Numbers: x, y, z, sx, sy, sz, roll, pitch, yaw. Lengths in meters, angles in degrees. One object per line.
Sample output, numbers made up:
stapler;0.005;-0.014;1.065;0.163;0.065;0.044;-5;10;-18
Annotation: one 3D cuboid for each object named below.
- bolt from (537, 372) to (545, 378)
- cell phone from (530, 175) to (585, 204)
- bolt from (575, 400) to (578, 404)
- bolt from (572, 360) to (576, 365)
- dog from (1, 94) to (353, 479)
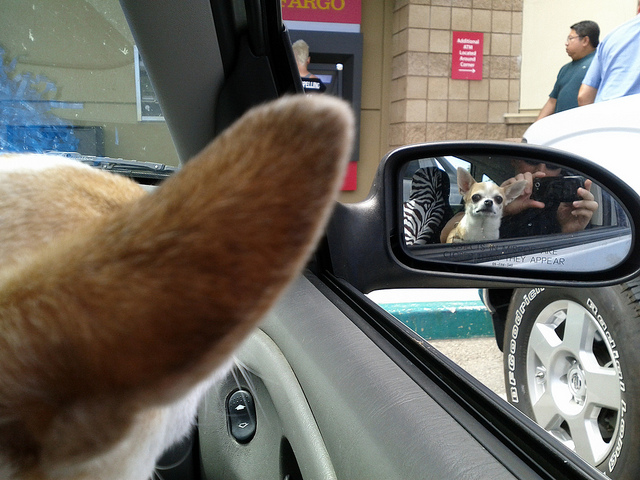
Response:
bolt;1.031;0.633;2.453;0.007;0.032;0.043;-1;15;-12
cell phone;0.875;-0.188;1.929;0.180;0.106;0.067;1;-3;-20
bolt;1.087;0.687;2.224;0.015;0.016;0.004;6;1;5
bolt;1.118;0.540;2.310;0.011;0.014;0.012;0;-4;9
dog;-0.169;0.054;0.550;0.388;0.413;0.198;3;14;2
